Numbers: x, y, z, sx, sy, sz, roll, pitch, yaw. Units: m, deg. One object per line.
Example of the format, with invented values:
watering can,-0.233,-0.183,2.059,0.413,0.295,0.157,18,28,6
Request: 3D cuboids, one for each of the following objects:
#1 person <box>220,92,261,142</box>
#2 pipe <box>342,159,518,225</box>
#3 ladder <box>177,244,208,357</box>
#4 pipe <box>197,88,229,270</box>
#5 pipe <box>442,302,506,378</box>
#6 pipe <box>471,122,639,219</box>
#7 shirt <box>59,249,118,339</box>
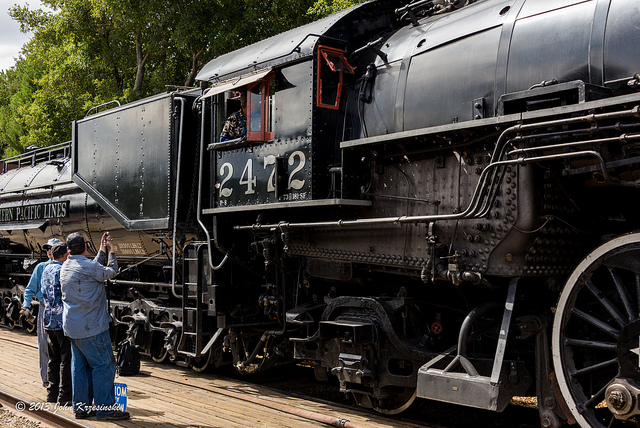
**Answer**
person,-1.225,-1.498,9.138,0.437,0.743,0.794,22,23,26
pipe,1.598,-0.213,7.040,0.105,0.650,2.238,15,-8,-20
ladder,-2.168,1.391,9.730,0.361,1.663,0.390,4,14,-3
pipe,-1.825,-0.608,9.464,0.373,3.030,0.680,1,-1,-40
pipe,1.824,1.482,6.927,0.496,0.839,0.614,-1,-2,42
pipe,2.611,-0.488,6.334,1.210,0.063,0.692,-15,-56,34
shirt,-3.339,1.124,8.276,0.786,1.294,0.734,2,-10,-42
